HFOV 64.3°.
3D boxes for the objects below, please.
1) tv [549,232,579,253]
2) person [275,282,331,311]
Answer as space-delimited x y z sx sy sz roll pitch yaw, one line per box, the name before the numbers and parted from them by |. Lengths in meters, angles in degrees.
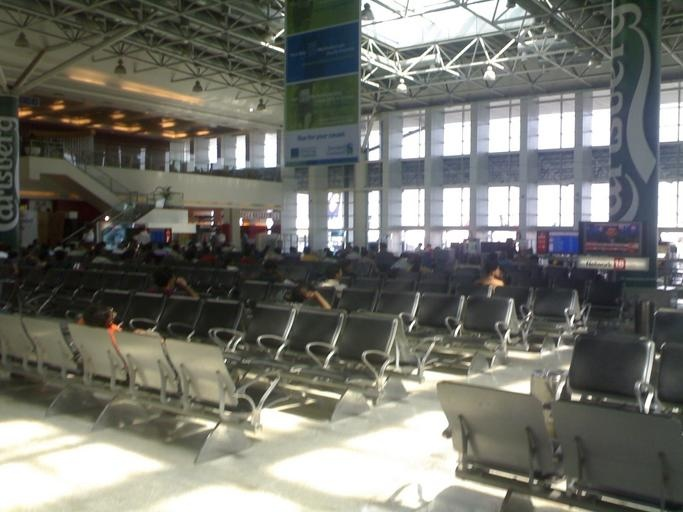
tv | 8.918 -0.485 21.672 0.442 0.817 0.841 6 -5 -44
person | -0.537 0.587 7.884 0.697 0.513 0.391 10 13 33
